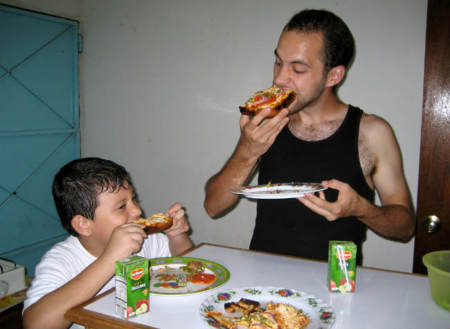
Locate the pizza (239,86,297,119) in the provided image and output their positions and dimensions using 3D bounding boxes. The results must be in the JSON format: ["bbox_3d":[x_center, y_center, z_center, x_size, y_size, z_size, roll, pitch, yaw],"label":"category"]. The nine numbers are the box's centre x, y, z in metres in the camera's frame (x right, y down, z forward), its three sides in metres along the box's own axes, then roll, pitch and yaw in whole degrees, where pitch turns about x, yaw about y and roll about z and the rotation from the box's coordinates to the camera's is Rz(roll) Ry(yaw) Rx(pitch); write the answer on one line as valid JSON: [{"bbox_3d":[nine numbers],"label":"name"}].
[{"bbox_3d":[0.264,-0.412,2.087,0.273,0.096,0.215,-32,26,-5],"label":"pizza"}]

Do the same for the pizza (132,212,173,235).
[{"bbox_3d":[-0.413,0.339,2.011,0.187,0.065,0.100,-4,8,-35],"label":"pizza"}]
